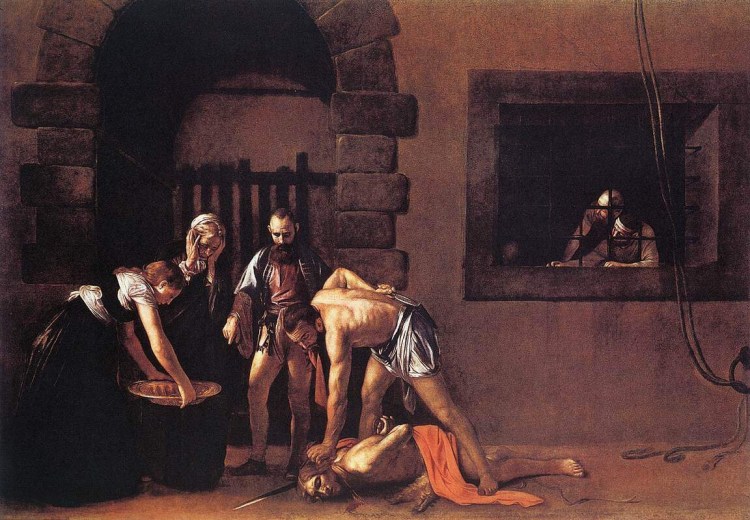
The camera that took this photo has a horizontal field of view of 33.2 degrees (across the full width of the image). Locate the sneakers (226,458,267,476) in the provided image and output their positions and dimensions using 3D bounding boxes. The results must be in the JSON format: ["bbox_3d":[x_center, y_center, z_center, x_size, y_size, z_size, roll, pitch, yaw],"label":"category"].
[{"bbox_3d":[-1.234,2.009,12.119,0.366,0.160,0.154,4,-14,-5],"label":"sneakers"}]
